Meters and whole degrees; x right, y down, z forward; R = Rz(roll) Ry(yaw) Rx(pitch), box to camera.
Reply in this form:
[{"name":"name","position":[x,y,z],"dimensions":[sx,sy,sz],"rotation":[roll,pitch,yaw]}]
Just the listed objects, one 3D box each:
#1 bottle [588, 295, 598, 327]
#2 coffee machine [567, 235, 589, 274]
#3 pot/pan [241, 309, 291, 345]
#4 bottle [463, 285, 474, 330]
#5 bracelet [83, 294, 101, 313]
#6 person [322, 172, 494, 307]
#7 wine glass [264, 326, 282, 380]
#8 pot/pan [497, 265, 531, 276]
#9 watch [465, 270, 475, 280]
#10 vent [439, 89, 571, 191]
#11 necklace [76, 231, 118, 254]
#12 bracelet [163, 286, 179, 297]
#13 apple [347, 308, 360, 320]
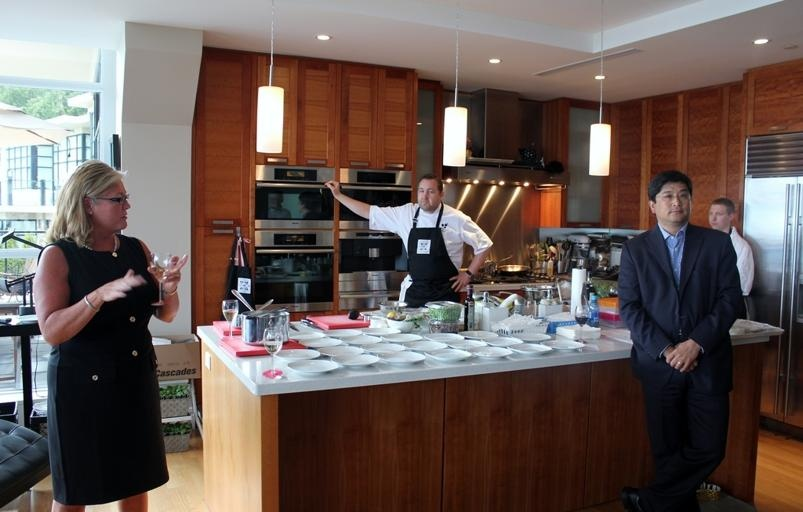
[{"name":"bottle","position":[1.437,0.403,4.309],"dimensions":[0.067,0.227,0.097],"rotation":[0,4,24]},{"name":"coffee machine","position":[2.284,-0.065,7.409],"dimensions":[0.273,0.455,0.353],"rotation":[0,3,16]},{"name":"pot/pan","position":[-0.857,0.423,3.572],"dimensions":[0.251,0.150,0.244],"rotation":[0,-2,6]},{"name":"bottle","position":[0.497,0.367,4.217],"dimensions":[0.076,0.314,0.230],"rotation":[-1,3,7]},{"name":"bracelet","position":[-1.740,0.263,3.219],"dimensions":[0.037,0.096,0.082],"rotation":[-48,6,-5]},{"name":"person","position":[-0.031,-0.151,5.751],"dimensions":[1.609,1.698,0.446],"rotation":[1,-3,3]},{"name":"wine glass","position":[-0.751,0.534,3.363],"dimensions":[0.106,0.278,0.327],"rotation":[-2,3,-12]},{"name":"pot/pan","position":[1.384,0.162,7.215],"dimensions":[0.327,0.108,0.545],"rotation":[1,4,42]},{"name":"watch","position":[0.630,0.165,5.317],"dimensions":[0.037,0.094,0.092],"rotation":[-38,49,-5]},{"name":"vent","position":[1.286,-1.287,6.899],"dimensions":[1.083,0.805,0.517],"rotation":[2,8,9]},{"name":"necklace","position":[-1.795,-0.077,3.444],"dimensions":[0.148,0.098,0.102],"rotation":[-3,6,-41]},{"name":"bracelet","position":[-1.395,0.213,3.461],"dimensions":[0.066,0.057,0.083],"rotation":[2,7,-12]},{"name":"apple","position":[-0.364,0.434,4.335],"dimensions":[0.062,0.056,0.079],"rotation":[15,-9,-18]}]
